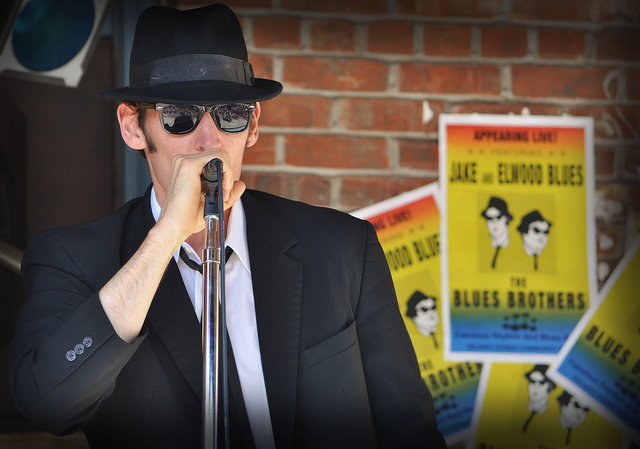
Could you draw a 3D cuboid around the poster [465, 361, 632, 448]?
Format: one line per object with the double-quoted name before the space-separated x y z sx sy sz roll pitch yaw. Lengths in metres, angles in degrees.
"poster" 0.911 0.750 3.340 0.601 0.319 0.020 3 1 -2
